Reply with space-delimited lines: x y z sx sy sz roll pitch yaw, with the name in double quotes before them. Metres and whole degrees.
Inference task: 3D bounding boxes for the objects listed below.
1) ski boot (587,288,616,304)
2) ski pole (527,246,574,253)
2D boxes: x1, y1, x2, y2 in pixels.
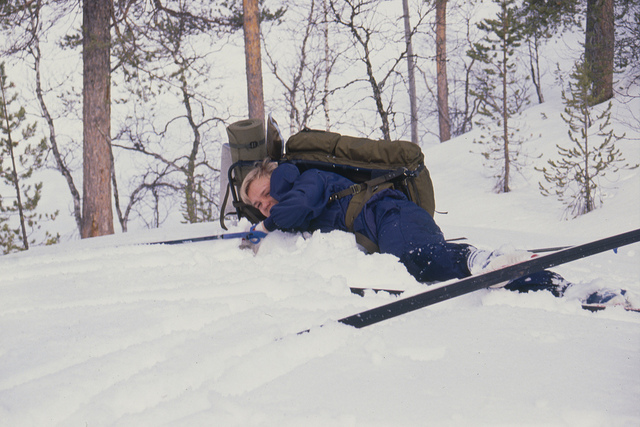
"ski boot" 3.064 0.896 7.156 0.251 0.152 0.069 -12 -7 0
"ski pole" 2.933 0.445 8.362 0.611 0.072 0.066 -7 7 1
